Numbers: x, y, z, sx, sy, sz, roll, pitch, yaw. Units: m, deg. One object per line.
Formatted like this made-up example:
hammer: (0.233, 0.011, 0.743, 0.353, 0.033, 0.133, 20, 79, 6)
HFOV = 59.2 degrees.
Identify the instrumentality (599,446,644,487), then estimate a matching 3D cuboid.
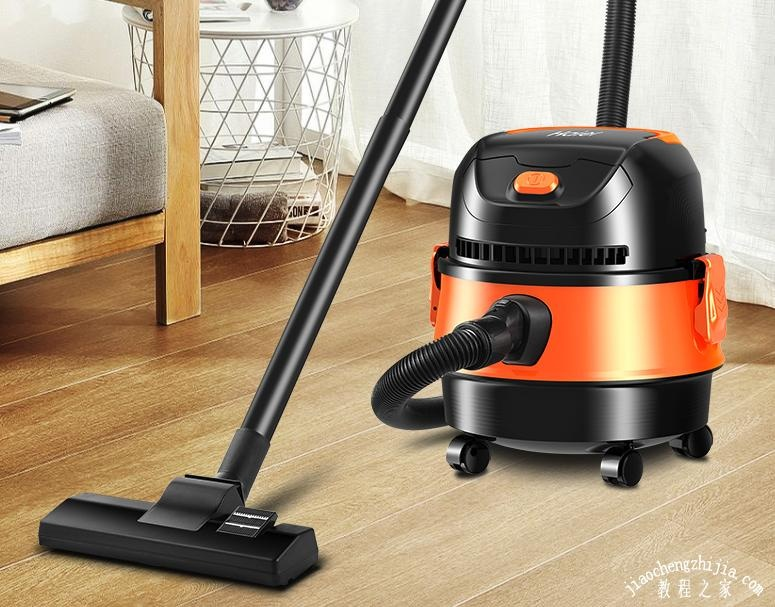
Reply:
instrumentality: (0.317, 0.218, 0.914, 0.055, 0.039, 0.047, 17, -20, -40)

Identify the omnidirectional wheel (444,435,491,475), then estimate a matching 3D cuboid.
omnidirectional wheel: (0.111, 0.214, 0.961, 0.059, 0.039, 0.031, -1, -5, -44)

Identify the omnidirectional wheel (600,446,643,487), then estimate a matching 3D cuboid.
omnidirectional wheel: (0.325, 0.218, 0.915, 0.071, 0.047, 0.047, -2, -11, -11)

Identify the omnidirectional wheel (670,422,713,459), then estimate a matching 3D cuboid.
omnidirectional wheel: (0.439, 0.196, 0.985, 0.071, 0.038, 0.059, 3, -2, -24)

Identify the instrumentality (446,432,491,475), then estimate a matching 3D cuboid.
instrumentality: (0.110, 0.214, 0.961, 0.060, 0.041, 0.030, 6, -13, -43)
